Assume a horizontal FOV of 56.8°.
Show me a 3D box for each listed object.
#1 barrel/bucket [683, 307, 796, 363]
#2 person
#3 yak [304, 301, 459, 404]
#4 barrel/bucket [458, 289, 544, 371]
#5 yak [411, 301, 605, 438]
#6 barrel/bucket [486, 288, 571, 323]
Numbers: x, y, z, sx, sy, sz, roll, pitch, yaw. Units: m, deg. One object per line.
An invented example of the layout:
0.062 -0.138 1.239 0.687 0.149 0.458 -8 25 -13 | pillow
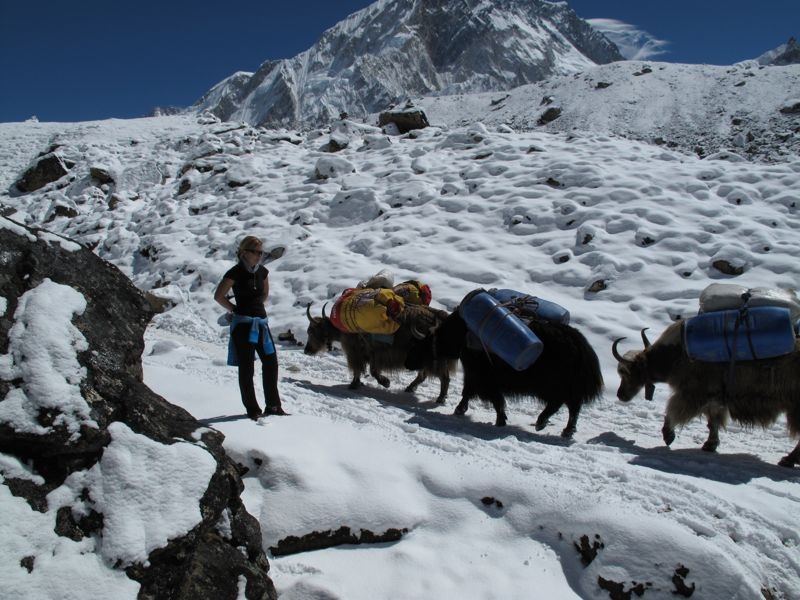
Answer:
3.771 0.404 8.215 1.459 0.580 0.929 4 6 9 | barrel/bucket
-1.647 0.263 8.137 0.976 1.786 0.857 4 11 -6 | person
-0.203 0.689 10.553 2.991 1.182 0.729 0 -5 39 | yak
1.245 0.351 9.091 0.367 0.823 1.121 -2 12 -34 | barrel/bucket
1.618 0.789 9.959 2.152 1.624 1.475 0 9 4 | yak
1.506 0.076 9.520 1.374 0.326 0.351 10 59 19 | barrel/bucket
